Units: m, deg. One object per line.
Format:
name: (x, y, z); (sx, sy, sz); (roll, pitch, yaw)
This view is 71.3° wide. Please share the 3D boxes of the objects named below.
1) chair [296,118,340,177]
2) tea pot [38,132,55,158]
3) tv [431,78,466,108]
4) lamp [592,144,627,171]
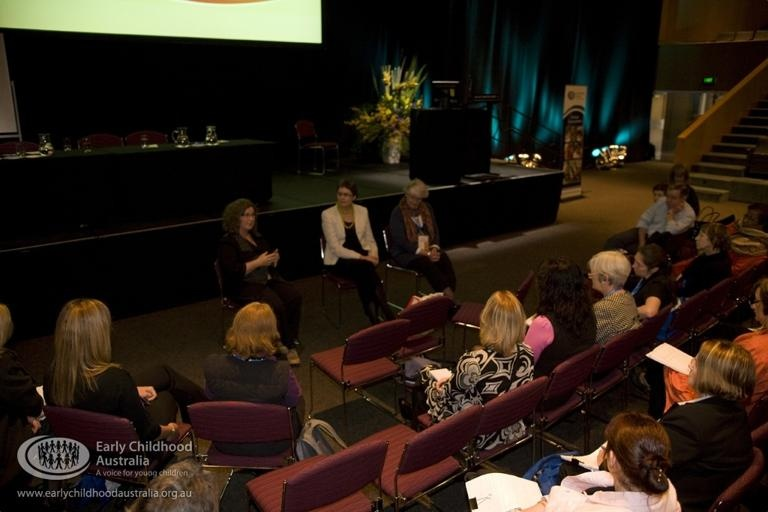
chair: (-1.317, -2.198, 10.639); (0.709, 1.036, 0.672); (5, 17, 17)
tea pot: (-3.910, -1.288, 6.161); (0.132, 0.225, 0.490); (-14, 22, -33)
tv: (1.155, -2.901, 9.531); (0.527, 0.445, 1.308); (1, 18, 8)
lamp: (6.676, -2.965, 15.876); (0.752, 0.449, 0.981); (-17, 24, -24)
